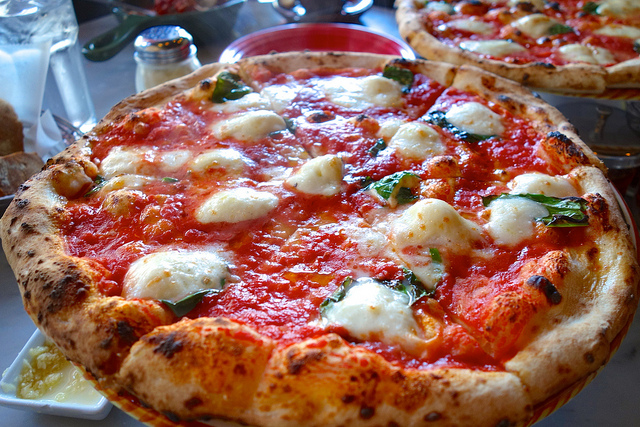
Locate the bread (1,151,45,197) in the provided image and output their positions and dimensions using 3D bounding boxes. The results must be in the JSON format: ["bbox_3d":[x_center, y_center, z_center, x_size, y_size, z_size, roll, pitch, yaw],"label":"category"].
[{"bbox_3d":[-1.647,-0.217,3.422,0.293,0.192,0.319,4,85,-5],"label":"bread"}]

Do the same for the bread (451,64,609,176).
[{"bbox_3d":[1.136,-0.506,3.344,0.805,0.135,0.531,38,77,20],"label":"bread"}]

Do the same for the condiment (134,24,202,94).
[{"bbox_3d":[-0.875,-0.985,3.876,0.449,0.681,0.433,-3,44,-11],"label":"condiment"}]

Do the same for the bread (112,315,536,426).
[{"bbox_3d":[0.000,0.679,2.331,1.553,0.310,0.396,4,49,11],"label":"bread"}]
